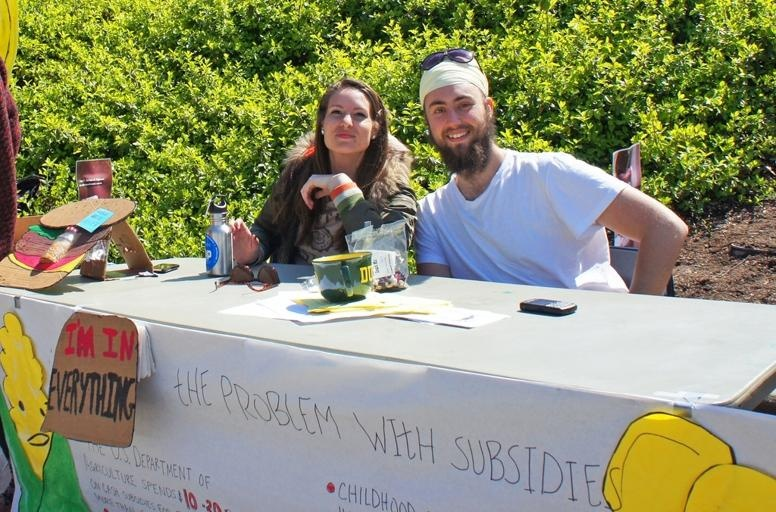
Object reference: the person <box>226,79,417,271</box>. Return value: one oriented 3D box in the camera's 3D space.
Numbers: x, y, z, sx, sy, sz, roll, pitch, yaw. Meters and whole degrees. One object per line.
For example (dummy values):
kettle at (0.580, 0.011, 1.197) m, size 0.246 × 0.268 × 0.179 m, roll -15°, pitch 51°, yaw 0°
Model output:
person at (-0.427, -0.526, 6.502) m, size 1.134 × 1.823 × 1.172 m, roll 1°, pitch -5°, yaw 3°

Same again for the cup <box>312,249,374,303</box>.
cup at (-0.250, 0.122, 5.277) m, size 0.227 × 0.225 × 0.296 m, roll -11°, pitch -10°, yaw 29°
